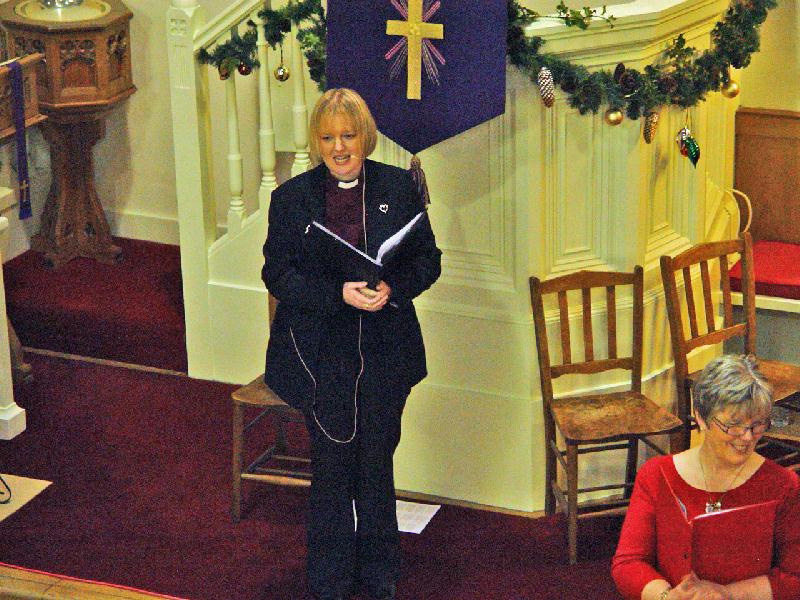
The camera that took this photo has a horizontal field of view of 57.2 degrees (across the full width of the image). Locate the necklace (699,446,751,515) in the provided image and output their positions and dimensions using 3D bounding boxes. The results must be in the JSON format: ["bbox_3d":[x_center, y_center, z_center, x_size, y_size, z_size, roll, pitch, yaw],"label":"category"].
[{"bbox_3d":[0.830,0.463,1.855,0.117,0.152,0.161,4,-15,-1],"label":"necklace"}]

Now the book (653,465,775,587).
[{"bbox_3d":[0.846,0.607,1.860,0.255,0.245,0.104,-8,14,-15],"label":"book"}]
